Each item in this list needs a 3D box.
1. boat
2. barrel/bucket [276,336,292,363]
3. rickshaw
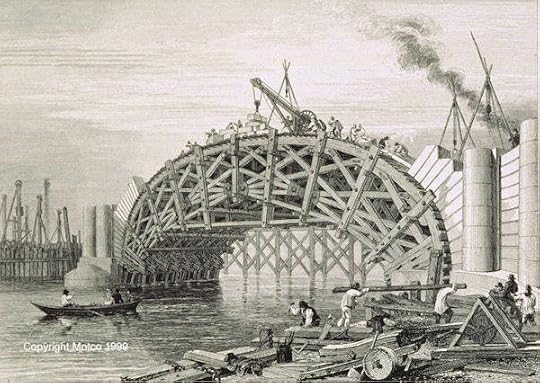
[{"bbox_3d":[-8.667,5.683,47.819,4.642,0.757,1.167,0,-7,-11],"label":"boat"},{"bbox_3d":[0.628,6.496,40.414,0.648,1.026,0.924,-1,-7,0],"label":"barrel/bucket"},{"bbox_3d":[3.823,6.520,39.346,4.399,1.946,1.697,-2,-7,10],"label":"rickshaw"}]
